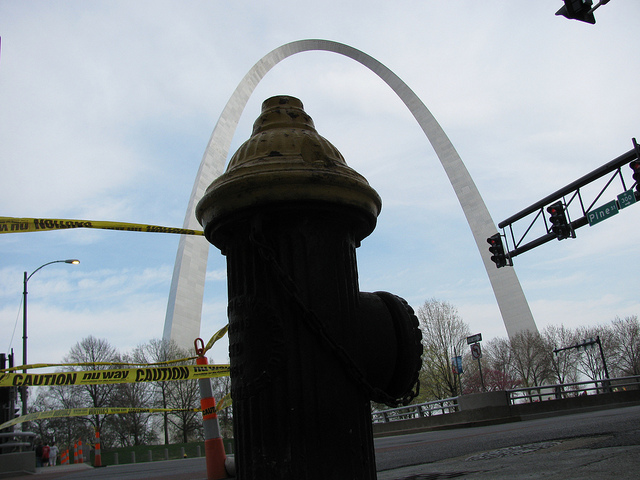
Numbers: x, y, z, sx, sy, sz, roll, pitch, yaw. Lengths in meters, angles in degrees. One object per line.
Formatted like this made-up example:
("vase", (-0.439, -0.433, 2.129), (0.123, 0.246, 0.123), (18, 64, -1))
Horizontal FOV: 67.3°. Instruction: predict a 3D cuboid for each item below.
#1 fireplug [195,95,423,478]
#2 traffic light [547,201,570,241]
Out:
("fireplug", (-0.067, 0.160, 2.358), (1.002, 1.958, 0.567), (-3, -17, -16))
("traffic light", (8.849, -0.701, 17.874), (0.587, 1.465, 0.630), (-16, -19, 26))
